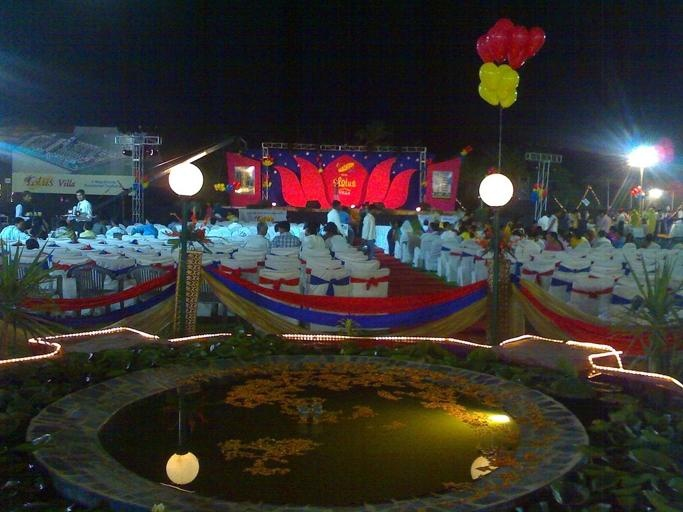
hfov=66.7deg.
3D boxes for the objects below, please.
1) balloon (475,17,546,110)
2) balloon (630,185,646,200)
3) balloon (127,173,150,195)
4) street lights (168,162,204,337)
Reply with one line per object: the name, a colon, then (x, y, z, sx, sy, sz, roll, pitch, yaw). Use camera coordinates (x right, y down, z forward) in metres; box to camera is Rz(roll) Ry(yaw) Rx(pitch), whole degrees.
balloon: (3.310, -3.748, 10.139, 1.094, 1.558, 1.222, 10, 13, 37)
balloon: (12.831, -2.769, 22.458, 0.972, 0.484, 1.116, 3, 14, 21)
balloon: (-7.916, -2.805, 20.321, 0.606, 0.907, 1.905, -3, 11, -22)
street lights: (-1.894, -0.047, 6.327, 0.379, 2.167, 0.635, -2, 11, -16)
